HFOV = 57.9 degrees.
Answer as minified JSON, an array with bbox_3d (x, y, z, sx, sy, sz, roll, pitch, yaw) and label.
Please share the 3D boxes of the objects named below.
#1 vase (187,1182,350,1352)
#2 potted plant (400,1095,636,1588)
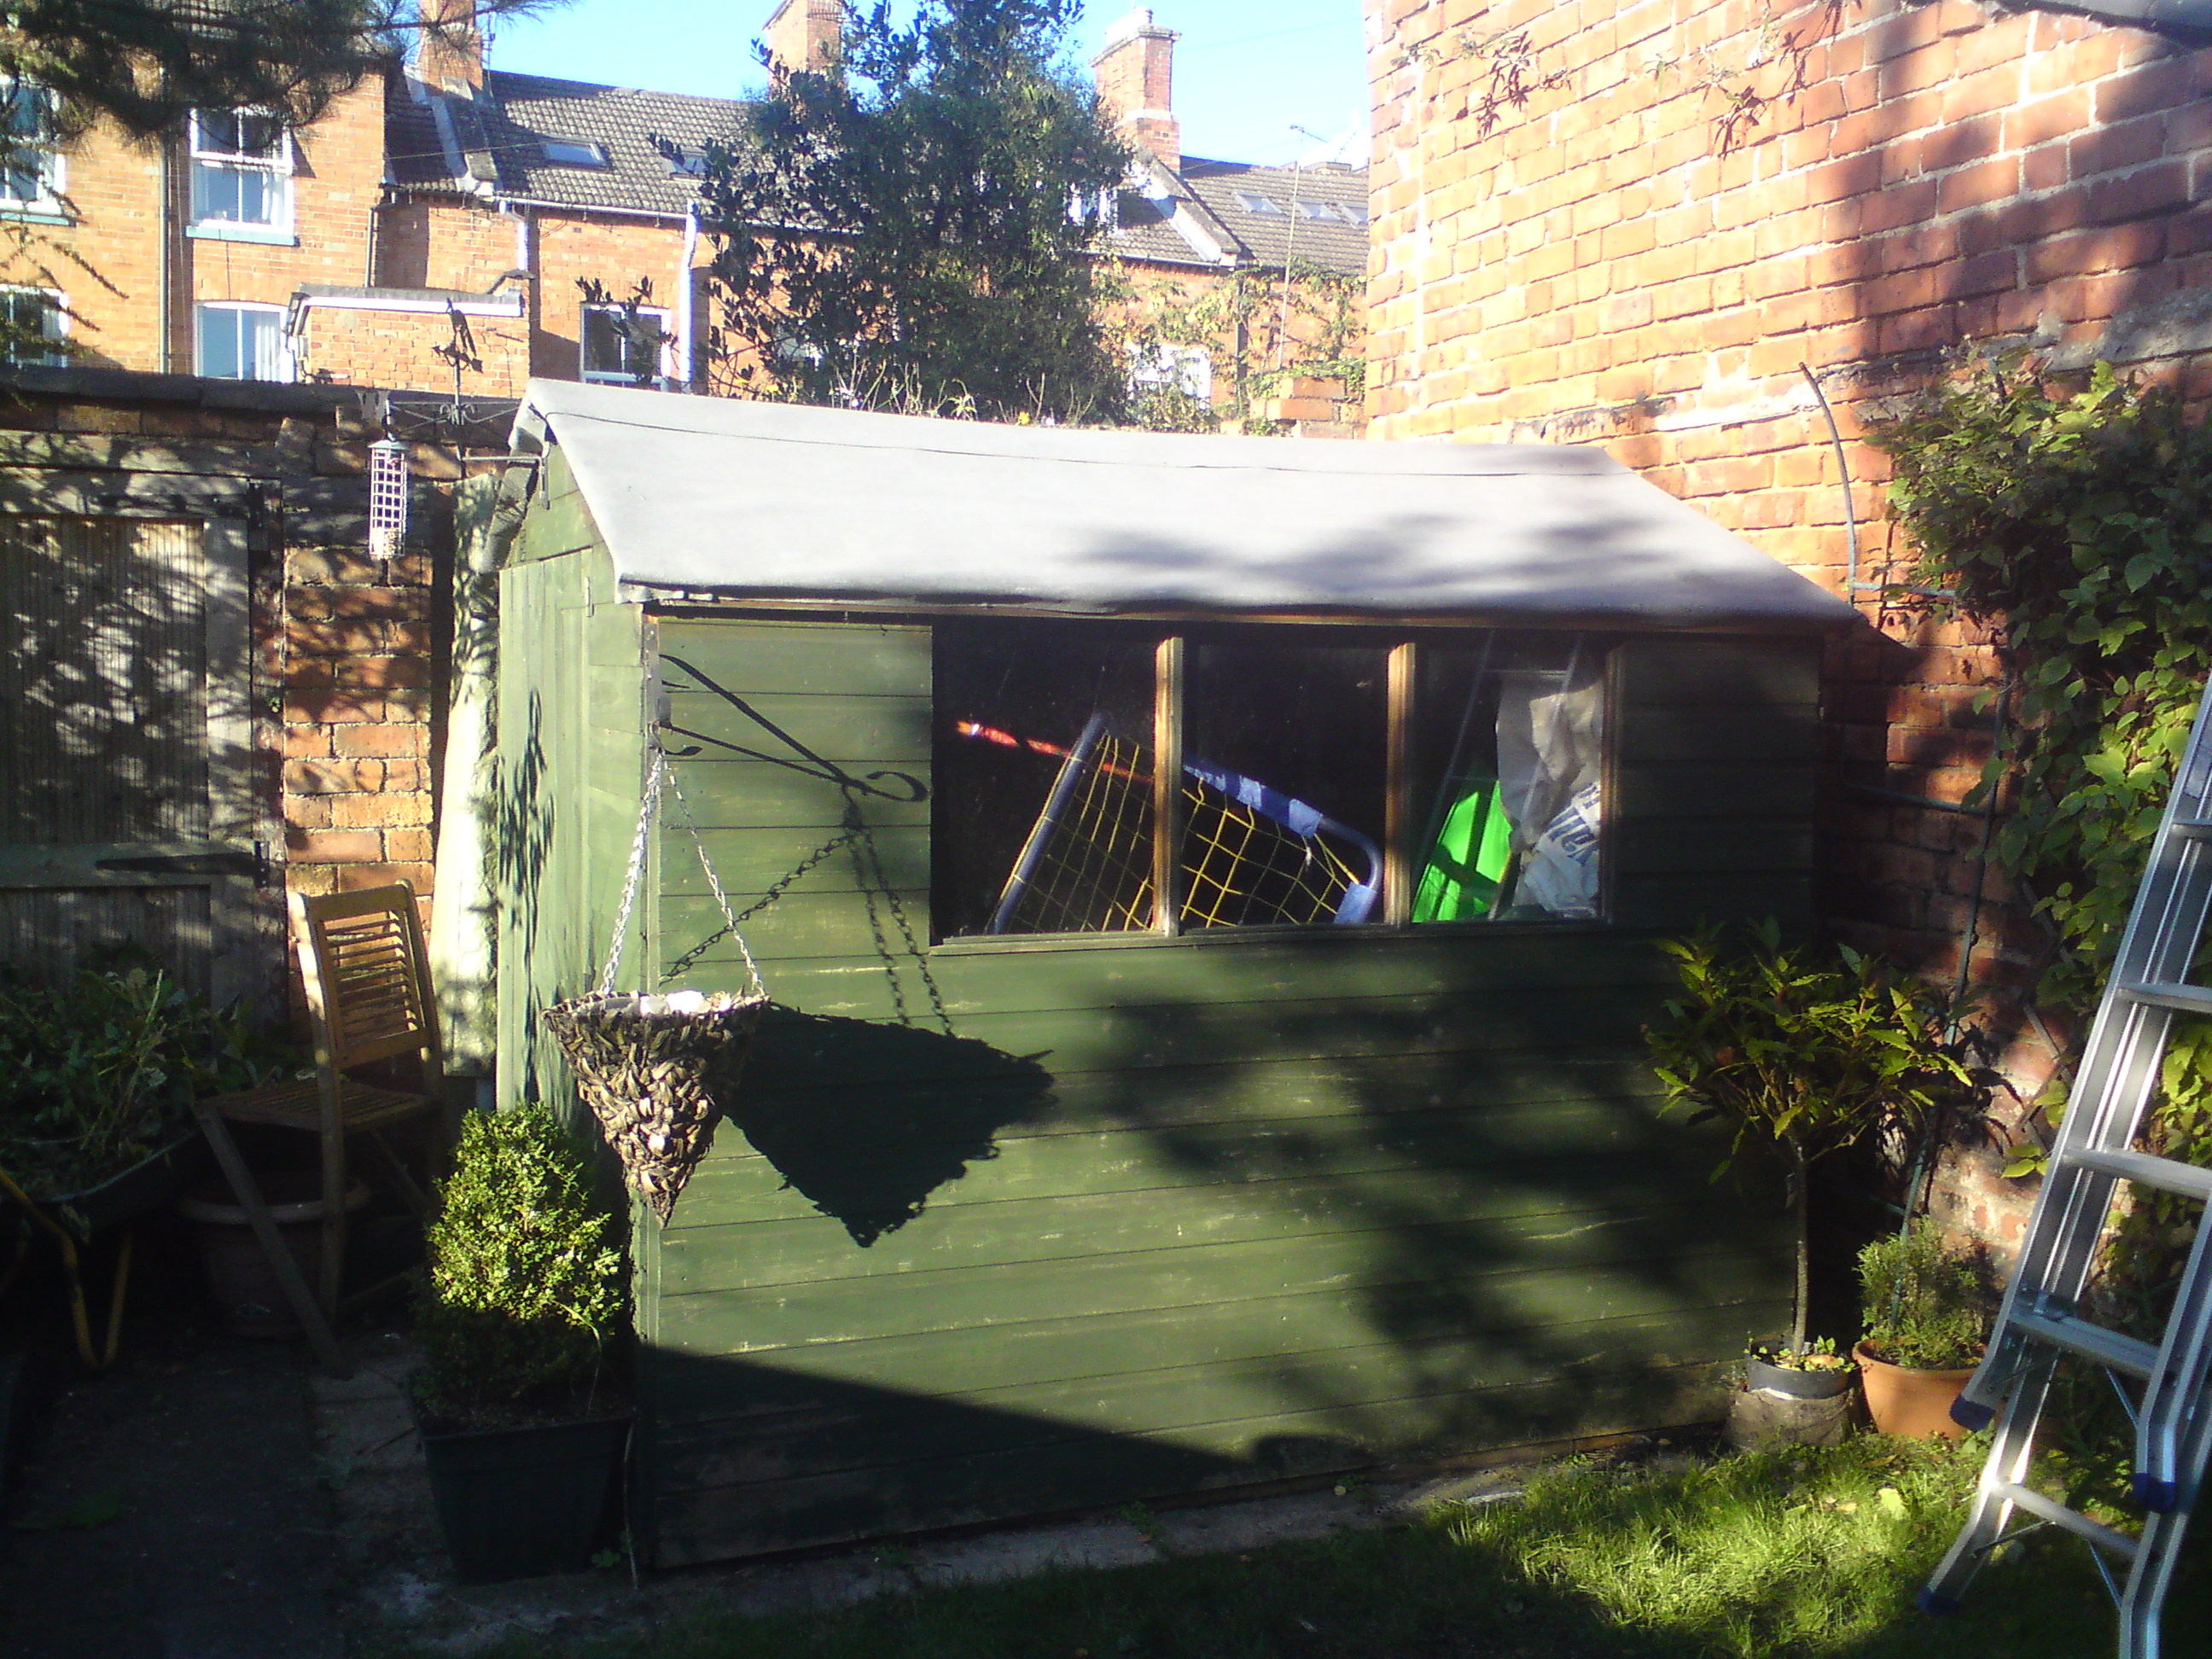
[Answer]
[{"bbox_3d":[-3.282,1.654,7.814,0.620,0.575,0.680,4,7,15],"label":"vase"},{"bbox_3d":[-1.819,1.612,6.236,0.653,1.330,0.719,0,6,-16],"label":"potted plant"}]
